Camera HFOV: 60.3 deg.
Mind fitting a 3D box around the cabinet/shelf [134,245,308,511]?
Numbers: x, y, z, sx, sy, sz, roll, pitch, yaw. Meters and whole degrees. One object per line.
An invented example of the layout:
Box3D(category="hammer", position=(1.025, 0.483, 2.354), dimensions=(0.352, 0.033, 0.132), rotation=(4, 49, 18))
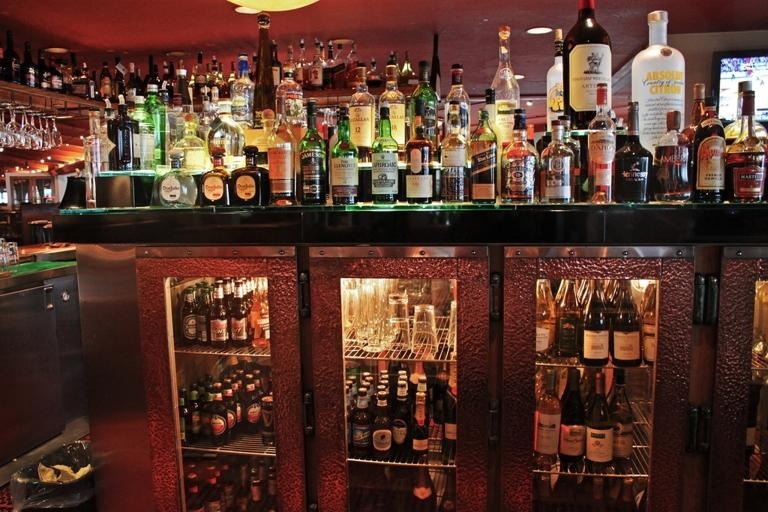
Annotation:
Box3D(category="cabinet/shelf", position=(-0.755, 0.575, 3.144), dimensions=(0.780, 1.250, 0.408), rotation=(0, 4, -2))

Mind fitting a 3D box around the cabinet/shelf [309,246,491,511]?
Box3D(category="cabinet/shelf", position=(0.081, 0.574, 3.081), dimensions=(0.798, 1.246, 0.354), rotation=(0, 4, 6))
